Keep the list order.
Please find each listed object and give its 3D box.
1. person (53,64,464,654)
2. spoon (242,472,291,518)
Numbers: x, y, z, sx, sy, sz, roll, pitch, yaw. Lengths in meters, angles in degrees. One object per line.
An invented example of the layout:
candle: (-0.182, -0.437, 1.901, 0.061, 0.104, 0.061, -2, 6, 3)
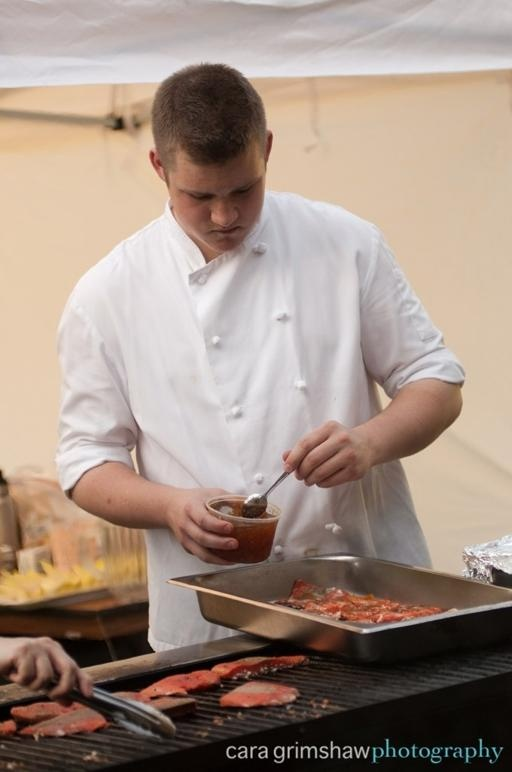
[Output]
person: (-0.023, -0.038, 1.867, 0.731, 1.398, 0.796, 0, 6, 43)
spoon: (0.020, 0.230, 1.572, 0.050, 0.020, 0.148, 36, 29, 11)
